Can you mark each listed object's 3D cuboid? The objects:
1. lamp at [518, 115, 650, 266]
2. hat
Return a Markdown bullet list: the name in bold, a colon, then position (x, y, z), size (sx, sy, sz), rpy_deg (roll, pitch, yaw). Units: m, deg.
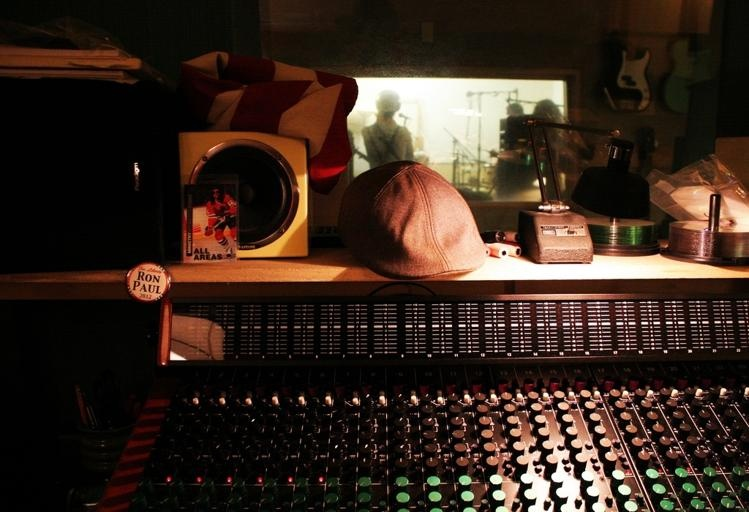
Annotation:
- **lamp**: position (0.694, -0.211, 1.971), size (0.439, 0.390, 0.285), rpy_deg (-2, 13, -3)
- **hat**: position (0.113, -0.088, 1.752), size (0.311, 0.165, 0.406), rpy_deg (-15, 35, -19)
